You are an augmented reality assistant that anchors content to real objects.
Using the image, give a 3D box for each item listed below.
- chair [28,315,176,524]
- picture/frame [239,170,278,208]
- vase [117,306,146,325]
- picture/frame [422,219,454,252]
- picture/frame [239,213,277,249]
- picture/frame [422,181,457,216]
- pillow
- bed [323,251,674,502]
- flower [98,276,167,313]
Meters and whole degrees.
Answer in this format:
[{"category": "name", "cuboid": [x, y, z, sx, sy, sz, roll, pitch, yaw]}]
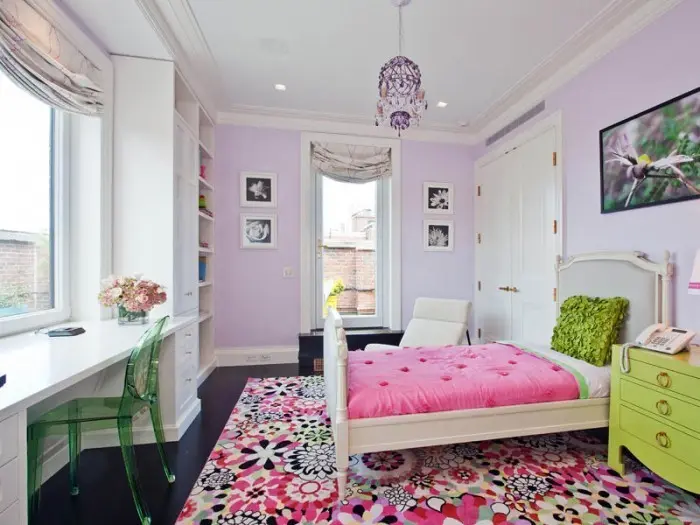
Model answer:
[{"category": "chair", "cuboid": [-1.448, 0.965, 2.702, 0.810, 1.206, 0.388, 0, 2, -38]}, {"category": "picture/frame", "cuboid": [-1.068, -0.841, 5.095, 0.406, 0.407, 0.042, 1, -2, -12]}, {"category": "vase", "cuboid": [-1.676, 0.411, 3.439, 0.152, 0.118, 0.158, 1, -5, -5]}, {"category": "picture/frame", "cuboid": [1.055, -0.339, 5.478, 0.368, 0.383, 0.028, 1, -2, -14]}, {"category": "picture/frame", "cuboid": [-1.069, -0.371, 5.091, 0.383, 0.406, 0.031, 0, -1, -13]}, {"category": "picture/frame", "cuboid": [1.072, -0.800, 5.482, 0.389, 0.403, 0.029, 1, -2, -16]}, {"category": "pillow", "cuboid": [1.895, 0.502, 3.552, 0.154, 0.504, 0.483, 20, -5, -18]}, {"category": "bed", "cuboid": [0.934, 0.749, 3.644, 1.977, 1.418, 1.331, -5, 6, 3]}, {"category": "flower", "cuboid": [-1.706, 0.239, 3.513, 0.394, 0.265, 0.422, 12, 17, 18]}]
